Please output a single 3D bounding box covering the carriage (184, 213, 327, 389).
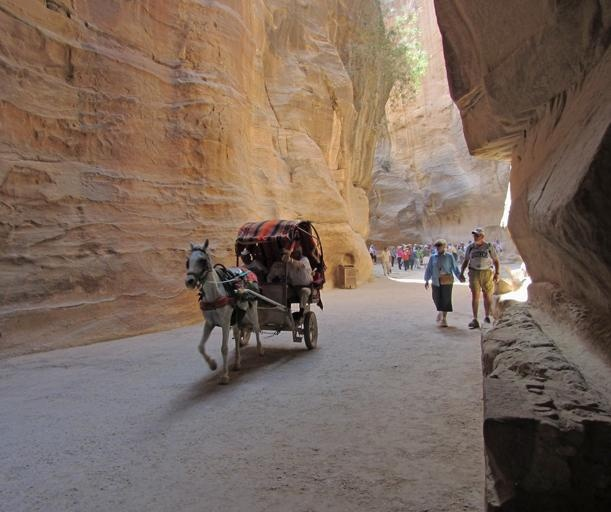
[{"bbox_3d":[-0.820,0.549,6.496,1.203,2.082,3.040,0,2,25],"label":"carriage"}]

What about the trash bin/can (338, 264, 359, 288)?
[{"bbox_3d":[1.579,0.769,16.559,0.602,1.133,0.825,1,-6,-37],"label":"trash bin/can"}]

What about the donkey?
[{"bbox_3d":[-1.043,0.615,5.755,0.965,1.801,1.093,2,6,-3],"label":"donkey"}]

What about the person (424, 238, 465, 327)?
[{"bbox_3d":[2.623,0.491,8.633,0.625,1.663,0.660,0,0,30],"label":"person"}]

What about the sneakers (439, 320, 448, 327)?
[{"bbox_3d":[2.610,1.283,8.457,0.086,0.098,0.221,0,1,6],"label":"sneakers"}]

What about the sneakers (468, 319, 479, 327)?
[{"bbox_3d":[3.054,1.236,8.156,0.101,0.133,0.202,4,-3,-7],"label":"sneakers"}]
